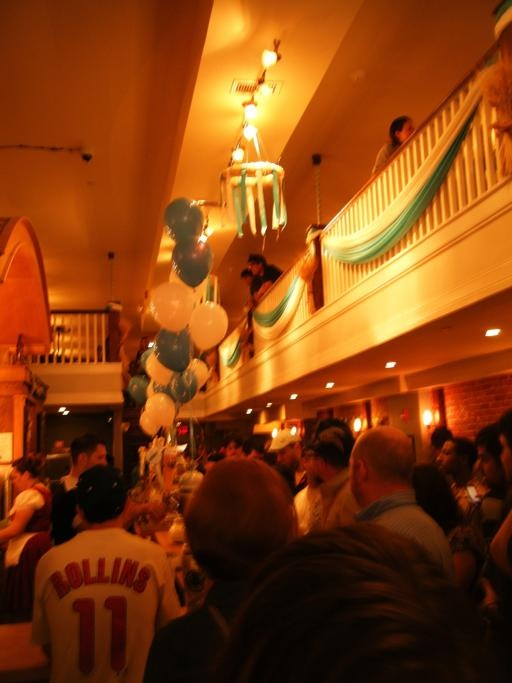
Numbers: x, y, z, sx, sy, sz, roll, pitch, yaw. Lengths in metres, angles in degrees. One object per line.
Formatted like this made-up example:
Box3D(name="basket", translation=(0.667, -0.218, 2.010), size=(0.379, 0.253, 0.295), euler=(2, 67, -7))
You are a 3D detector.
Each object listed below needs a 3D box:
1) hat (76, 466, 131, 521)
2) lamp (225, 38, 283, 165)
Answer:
Box3D(name="hat", translation=(-0.625, 0.610, 2.199), size=(0.160, 0.233, 0.218), euler=(1, 10, -4))
Box3D(name="lamp", translation=(-0.031, -2.809, 6.128), size=(0.561, 1.465, 0.353), euler=(5, 23, -5))
